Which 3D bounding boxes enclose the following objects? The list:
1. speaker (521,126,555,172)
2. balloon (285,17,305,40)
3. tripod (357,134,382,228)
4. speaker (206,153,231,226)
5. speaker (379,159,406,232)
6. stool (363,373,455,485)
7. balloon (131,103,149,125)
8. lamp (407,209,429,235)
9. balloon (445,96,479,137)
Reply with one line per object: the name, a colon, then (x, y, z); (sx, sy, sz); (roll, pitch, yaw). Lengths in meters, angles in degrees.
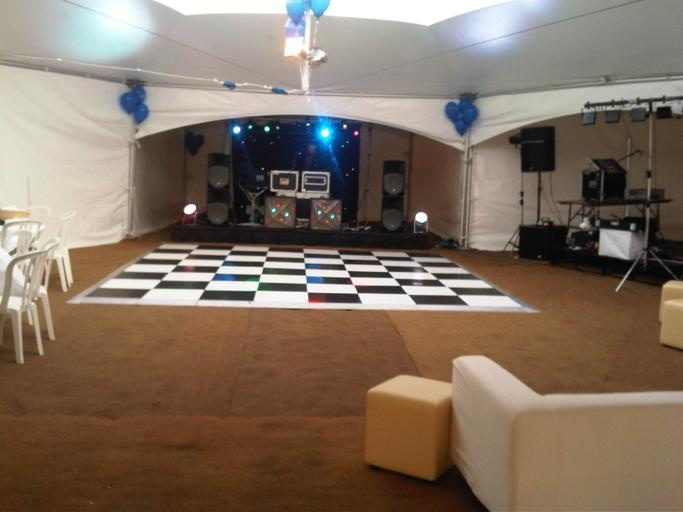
speaker: (3.120, -1.709, 7.839); (0.522, 0.697, 0.185); (8, 11, 31)
balloon: (-0.353, -1.741, 3.761); (0.141, 0.142, 0.151); (1, 22, 0)
tripod: (0.630, -1.909, 11.387); (0.367, 2.224, 0.685); (10, 13, 44)
speaker: (-2.134, -1.161, 8.519); (0.381, 1.202, 0.383); (-2, 10, -22)
speaker: (0.899, -1.057, 8.616); (0.371, 1.214, 0.367); (2, 9, 1)
stool: (0.335, 0.822, 2.388); (0.407, 0.386, 0.256); (5, 10, 19)
balloon: (-3.216, -2.284, 7.938); (0.223, 0.324, 0.190); (0, -5, 22)
lamp: (1.385, -0.596, 8.632); (0.231, 0.345, 0.378); (3, 10, 7)
balloon: (1.978, -2.306, 7.995); (0.230, 0.573, 0.554); (-31, -7, -47)
